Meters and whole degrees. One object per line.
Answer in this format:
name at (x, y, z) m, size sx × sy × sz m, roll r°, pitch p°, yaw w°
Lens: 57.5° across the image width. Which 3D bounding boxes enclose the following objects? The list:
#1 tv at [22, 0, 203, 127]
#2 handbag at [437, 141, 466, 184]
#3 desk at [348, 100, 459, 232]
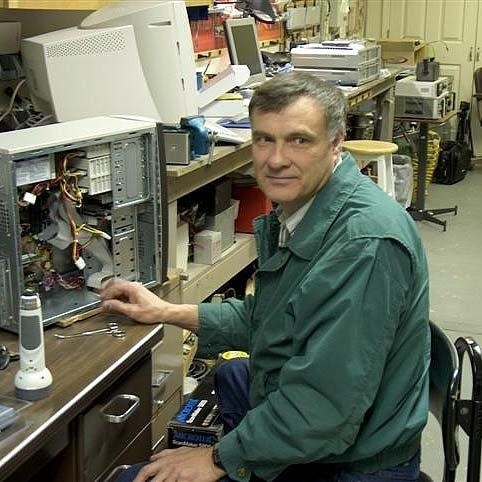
tv at (-0.483, -0.638, 1.804) m, size 0.652 × 0.530 × 0.608 m, roll -13°, pitch 30°, yaw -28°
handbag at (2.629, -0.992, 5.517) m, size 0.298 × 0.387 × 0.475 m, roll 6°, pitch 23°, yaw 27°
desk at (1.405, -0.880, 4.928) m, size 1.453 × 1.325 × 1.356 m, roll 0°, pitch 19°, yaw 10°
